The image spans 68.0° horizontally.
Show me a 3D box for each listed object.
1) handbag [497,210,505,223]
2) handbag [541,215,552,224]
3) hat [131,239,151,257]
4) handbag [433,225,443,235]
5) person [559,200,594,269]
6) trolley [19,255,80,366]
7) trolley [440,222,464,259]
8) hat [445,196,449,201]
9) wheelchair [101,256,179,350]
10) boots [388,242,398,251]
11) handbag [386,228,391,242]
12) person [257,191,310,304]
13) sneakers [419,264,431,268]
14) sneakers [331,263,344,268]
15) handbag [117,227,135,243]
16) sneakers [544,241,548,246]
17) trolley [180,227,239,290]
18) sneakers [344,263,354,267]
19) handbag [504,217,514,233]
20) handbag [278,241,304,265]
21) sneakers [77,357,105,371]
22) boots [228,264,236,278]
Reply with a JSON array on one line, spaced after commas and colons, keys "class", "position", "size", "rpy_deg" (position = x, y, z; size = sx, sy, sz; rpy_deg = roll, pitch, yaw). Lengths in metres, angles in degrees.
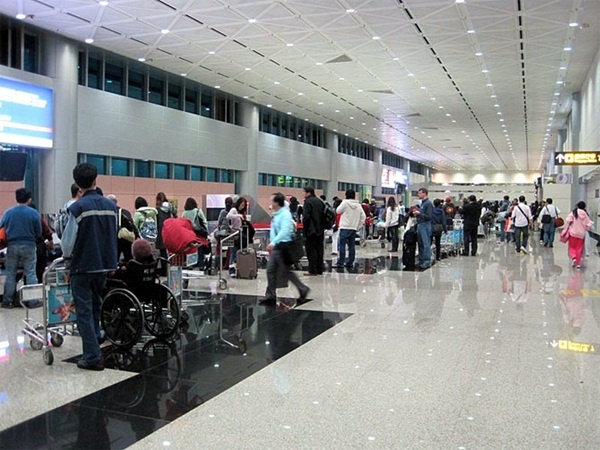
[{"class": "handbag", "position": [8.828, -0.382, 19.368], "size": [0.297, 0.401, 0.421], "rpy_deg": [23, 21, 8]}, {"class": "handbag", "position": [9.370, -0.234, 16.840], "size": [0.321, 0.305, 0.123], "rpy_deg": [1, -3, 15]}, {"class": "hat", "position": [-1.893, 0.278, 5.236], "size": [0.189, 0.229, 0.229], "rpy_deg": [2, 14, -28]}, {"class": "handbag", "position": [3.824, 0.127, 12.299], "size": [0.291, 0.308, 0.619], "rpy_deg": [-1, 1, 18]}, {"class": "person", "position": [6.811, 0.233, 10.969], "size": [0.618, 1.610, 1.472], "rpy_deg": [-1, 1, 31]}, {"class": "trolley", "position": [-2.853, 0.892, 5.147], "size": [0.836, 1.144, 0.549], "rpy_deg": [8, 9, 35]}, {"class": "trolley", "position": [5.154, 0.477, 15.017], "size": [0.914, 1.350, 1.365], "rpy_deg": [-1, -4, 14]}, {"class": "hat", "position": [5.474, -0.975, 16.422], "size": [0.175, 0.136, 0.172], "rpy_deg": [4, -2, -11]}, {"class": "wheelchair", "position": [-1.992, 0.911, 5.279], "size": [0.952, 0.932, 0.767], "rpy_deg": [2, 0, 16]}, {"class": "boots", "position": [3.091, 0.741, 15.011], "size": [0.366, 0.344, 0.194], "rpy_deg": [3, 1, 25]}, {"class": "handbag", "position": [3.598, 0.357, 18.174], "size": [0.193, 0.173, 0.664], "rpy_deg": [11, -40, 6]}, {"class": "person", "position": [-0.274, 0.354, 7.267], "size": [0.738, 1.383, 0.573], "rpy_deg": [-1, 1, 20]}, {"class": "sneakers", "position": [3.182, 1.031, 11.274], "size": [0.279, 0.110, 0.124], "rpy_deg": [4, -8, -36]}, {"class": "sneakers", "position": [0.937, 0.983, 11.076], "size": [0.307, 0.083, 0.225], "rpy_deg": [-1, 1, 6]}, {"class": "handbag", "position": [-2.471, 0.169, 6.323], "size": [0.342, 0.175, 0.289], "rpy_deg": [13, -14, -21]}, {"class": "sneakers", "position": [9.686, 0.718, 17.472], "size": [0.168, 0.181, 0.168], "rpy_deg": [2, 5, 34]}, {"class": "trolley", "position": [-1.949, 0.746, 9.418], "size": [1.284, 1.099, 0.756], "rpy_deg": [-2, 4, -7]}, {"class": "sneakers", "position": [1.254, 0.988, 11.204], "size": [0.217, 0.078, 0.331], "rpy_deg": [-2, 1, 3]}, {"class": "handbag", "position": [8.760, -0.041, 18.577], "size": [0.341, 0.661, 0.512], "rpy_deg": [21, -4, 12]}, {"class": "handbag", "position": [-0.135, 0.419, 7.056], "size": [0.334, 0.344, 0.487], "rpy_deg": [-2, -1, 15]}, {"class": "sneakers", "position": [-2.125, 1.381, 4.456], "size": [0.284, 0.110, 0.120], "rpy_deg": [6, 2, 8]}, {"class": "boots", "position": [-1.533, 1.016, 9.989], "size": [0.167, 0.245, 0.254], "rpy_deg": [3, -11, -14]}]
